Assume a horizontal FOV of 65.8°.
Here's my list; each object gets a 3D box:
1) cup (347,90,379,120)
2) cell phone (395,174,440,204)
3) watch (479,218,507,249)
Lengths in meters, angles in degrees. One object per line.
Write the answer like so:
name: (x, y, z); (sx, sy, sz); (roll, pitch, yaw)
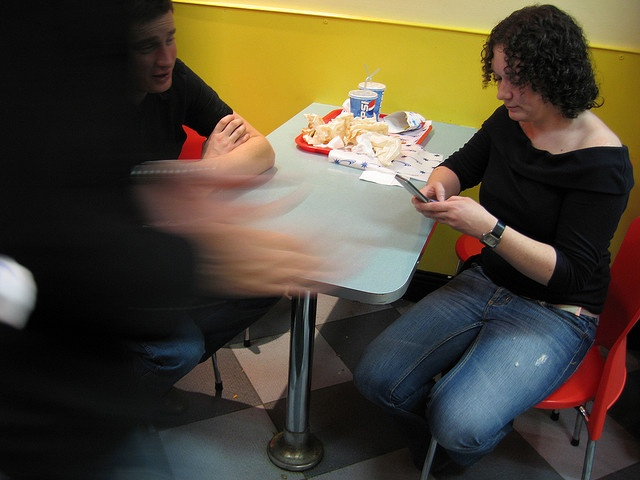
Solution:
cup: (0.150, -0.468, 1.760); (0.110, 0.098, 0.113); (-1, 30, 0)
cell phone: (0.253, -0.130, 1.298); (0.161, 0.017, 0.087); (33, 3, -36)
watch: (0.421, -0.009, 1.201); (0.045, 0.070, 0.076); (32, 79, 16)
